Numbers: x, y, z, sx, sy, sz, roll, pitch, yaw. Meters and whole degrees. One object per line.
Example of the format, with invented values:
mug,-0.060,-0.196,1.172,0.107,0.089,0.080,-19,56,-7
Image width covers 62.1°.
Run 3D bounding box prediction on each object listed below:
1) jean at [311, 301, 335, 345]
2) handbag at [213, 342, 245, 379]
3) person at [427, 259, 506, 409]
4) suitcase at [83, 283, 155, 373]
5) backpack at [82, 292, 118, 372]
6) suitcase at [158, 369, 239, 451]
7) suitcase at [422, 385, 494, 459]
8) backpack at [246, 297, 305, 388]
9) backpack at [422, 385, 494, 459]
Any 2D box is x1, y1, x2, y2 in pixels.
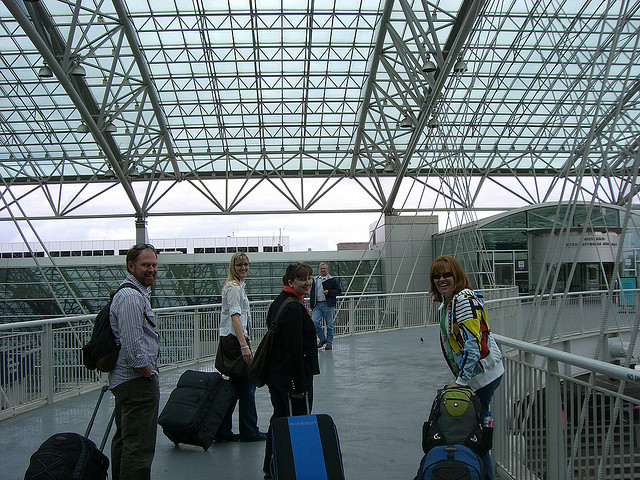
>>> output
jean,0.099,2.327,14.629,0.587,1.235,0.926,-1,-3,-1
handbag,-1.182,1.615,6.993,0.444,0.466,0.220,-2,-3,7
person,1.482,1.008,5.478,0.751,1.619,1.036,-2,-3,17
suitcase,-1.960,0.941,5.477,0.861,0.855,0.535,-1,2,-6
backpack,-2.113,0.899,5.147,0.428,0.772,0.228,-4,-3,39
suitcase,-1.619,2.196,6.934,0.701,1.005,0.566,5,-42,21
suitcase,1.212,1.589,4.705,0.561,0.644,0.359,-2,-2,13
backpack,-0.570,1.153,5.896,0.805,1.024,0.233,-3,-3,36
backpack,1.200,1.561,4.717,0.594,0.670,0.355,-1,10,15
